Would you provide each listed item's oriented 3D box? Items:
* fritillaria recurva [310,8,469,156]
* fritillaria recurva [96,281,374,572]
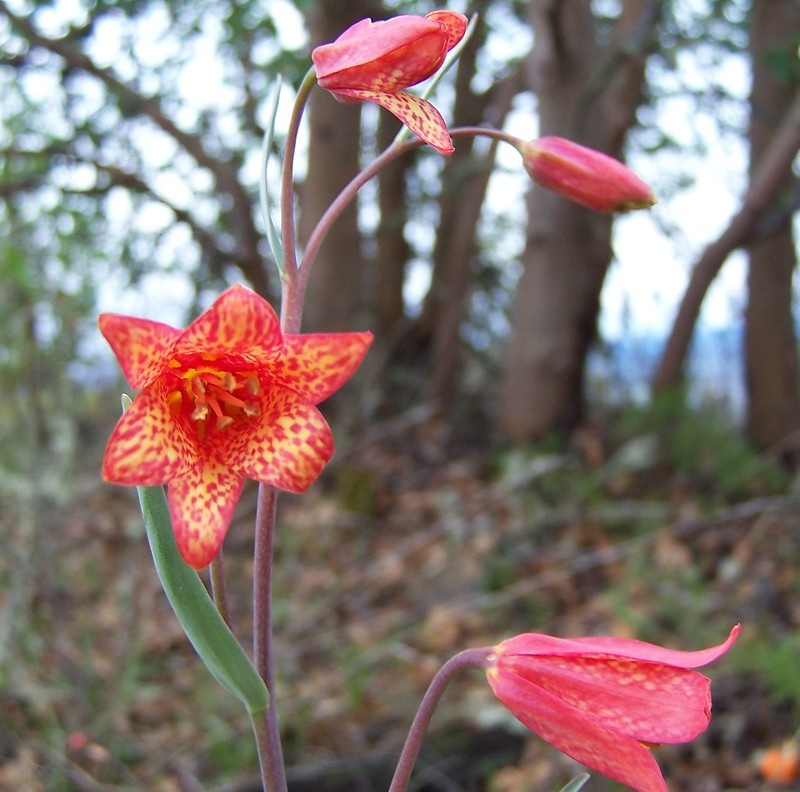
[{"bbox_3d":[-0.006,-0.459,1.335,0.236,0.185,0.129,9,25,33],"label":"fritillaria recurva"},{"bbox_3d":[-0.268,0.017,1.326,0.387,0.455,0.184,4,19,-30],"label":"fritillaria recurva"}]
